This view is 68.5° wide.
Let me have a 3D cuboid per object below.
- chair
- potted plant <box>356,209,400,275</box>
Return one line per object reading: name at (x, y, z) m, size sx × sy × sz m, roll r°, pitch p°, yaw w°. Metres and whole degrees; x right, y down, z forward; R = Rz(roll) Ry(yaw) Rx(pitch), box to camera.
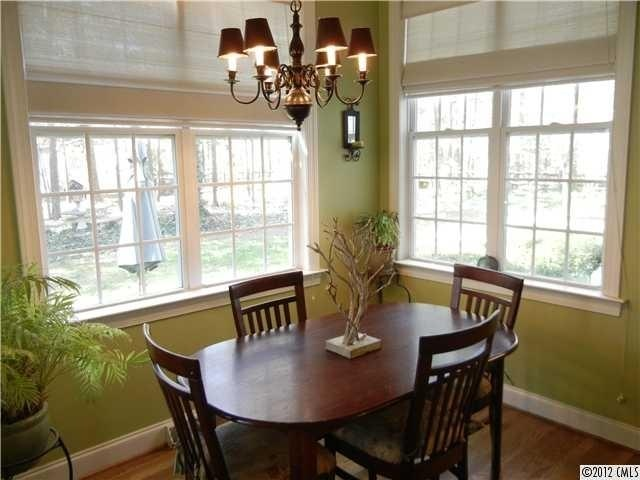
chair at (0.028, 0.766, 2.683) m, size 0.643 × 0.667 × 1.282 m, roll 8°, pitch 12°, yaw 44°
potted plant at (0.539, 0.000, 4.280) m, size 0.373 × 0.608 × 0.372 m, roll -1°, pitch -4°, yaw 13°
